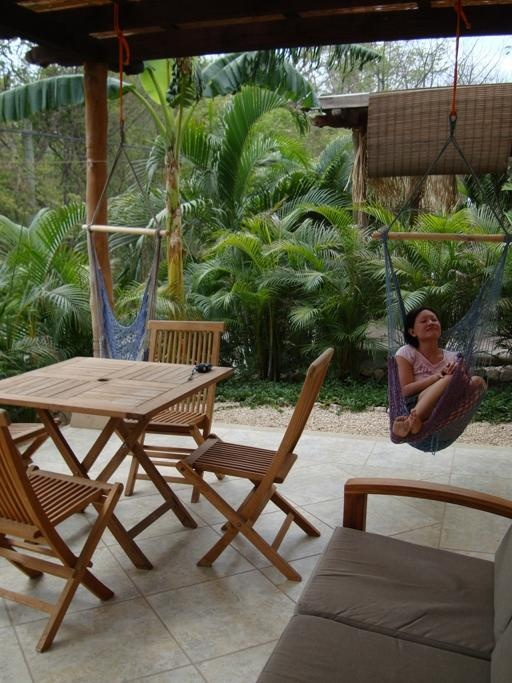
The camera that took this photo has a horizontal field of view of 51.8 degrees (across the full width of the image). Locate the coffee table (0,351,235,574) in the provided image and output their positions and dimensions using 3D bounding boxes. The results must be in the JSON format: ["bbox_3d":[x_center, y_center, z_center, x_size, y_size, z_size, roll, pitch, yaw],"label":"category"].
[{"bbox_3d":[-0.762,0.625,2.721,1.031,0.857,1.007,4,14,17],"label":"coffee table"}]

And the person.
[{"bbox_3d":[1.072,0.183,3.129,0.475,0.739,0.861,2,6,16],"label":"person"}]

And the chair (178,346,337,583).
[{"bbox_3d":[0.014,0.553,2.433,0.656,0.881,0.480,1,2,15],"label":"chair"}]
